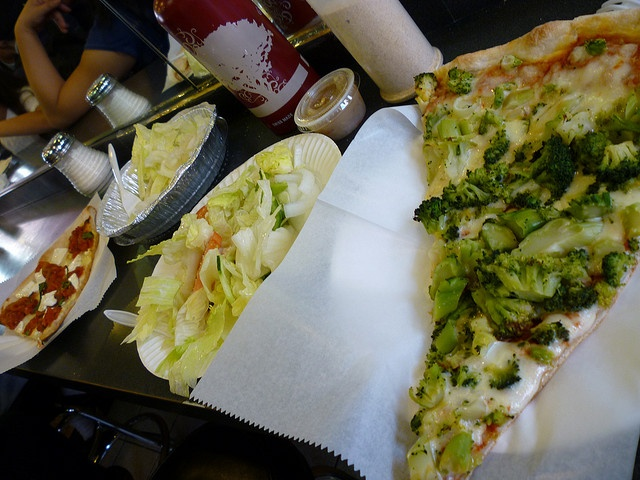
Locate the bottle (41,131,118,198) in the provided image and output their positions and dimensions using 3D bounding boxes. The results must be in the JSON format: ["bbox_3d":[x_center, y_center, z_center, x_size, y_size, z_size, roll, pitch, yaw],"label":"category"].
[{"bbox_3d":[-1.135,-0.349,2.236,0.194,0.307,0.225,-12,36,22],"label":"bottle"}]
